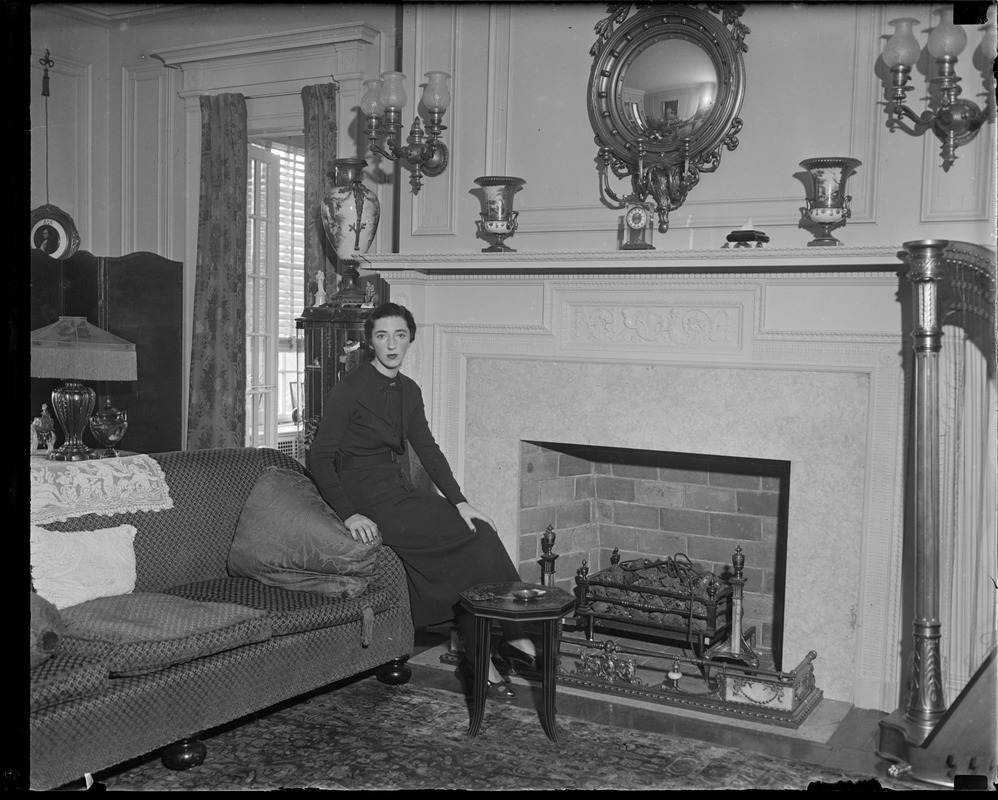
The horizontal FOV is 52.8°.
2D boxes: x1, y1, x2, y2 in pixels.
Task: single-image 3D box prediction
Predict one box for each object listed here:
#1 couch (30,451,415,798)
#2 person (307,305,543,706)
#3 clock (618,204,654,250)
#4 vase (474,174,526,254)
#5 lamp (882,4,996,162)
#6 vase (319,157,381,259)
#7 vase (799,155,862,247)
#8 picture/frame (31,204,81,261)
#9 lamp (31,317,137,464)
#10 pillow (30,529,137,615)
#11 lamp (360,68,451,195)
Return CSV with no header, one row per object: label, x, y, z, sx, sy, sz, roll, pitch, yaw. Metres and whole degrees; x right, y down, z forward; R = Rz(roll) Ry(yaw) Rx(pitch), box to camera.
couch,-1.186,0.712,3.782,0.875,0.873,1.574,7,9,38
person,-0.320,0.401,4.434,0.916,1.583,0.602,8,20,21
clock,0.637,-0.785,4.717,0.199,0.239,0.201,2,-1,2
vase,-0.006,-0.891,5.046,0.351,0.405,0.351,0,-3,1
lamp,1.724,-1.229,4.030,0.453,0.630,0.306,5,8,26
vase,-0.780,-0.968,5.241,0.297,0.540,0.255,0,8,-8
vase,1.382,-0.826,4.299,0.272,0.363,0.234,5,8,26
picture/frame,-2.822,-1.059,6.372,0.286,0.324,0.178,-4,9,-38
lamp,-2.003,-0.043,4.740,0.599,0.643,0.615,3,1,18
pillow,-1.483,0.592,3.622,0.454,0.254,0.244,-5,10,-41
lamp,-0.481,-1.371,5.235,0.445,0.615,0.597,1,7,-5
